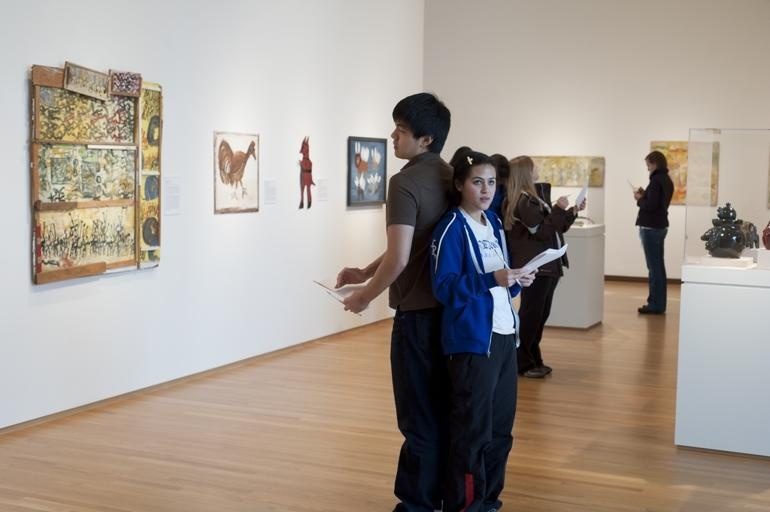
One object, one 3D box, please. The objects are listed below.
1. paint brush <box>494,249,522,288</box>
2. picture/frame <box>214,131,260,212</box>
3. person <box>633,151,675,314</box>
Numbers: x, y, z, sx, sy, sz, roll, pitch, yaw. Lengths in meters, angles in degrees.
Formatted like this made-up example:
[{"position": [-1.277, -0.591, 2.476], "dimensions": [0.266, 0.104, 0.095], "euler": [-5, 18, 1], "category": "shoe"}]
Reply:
[{"position": [0.681, 0.072, 3.049], "dimensions": [0.121, 0.105, 0.184], "euler": [-8, 11, 0], "category": "paint brush"}, {"position": [-1.807, -1.008, 6.529], "dimensions": [0.056, 1.288, 0.872], "euler": [5, 7, 34], "category": "picture/frame"}, {"position": [4.582, -0.418, 9.403], "dimensions": [0.567, 2.733, 1.003], "euler": [3, 7, 28], "category": "person"}]
